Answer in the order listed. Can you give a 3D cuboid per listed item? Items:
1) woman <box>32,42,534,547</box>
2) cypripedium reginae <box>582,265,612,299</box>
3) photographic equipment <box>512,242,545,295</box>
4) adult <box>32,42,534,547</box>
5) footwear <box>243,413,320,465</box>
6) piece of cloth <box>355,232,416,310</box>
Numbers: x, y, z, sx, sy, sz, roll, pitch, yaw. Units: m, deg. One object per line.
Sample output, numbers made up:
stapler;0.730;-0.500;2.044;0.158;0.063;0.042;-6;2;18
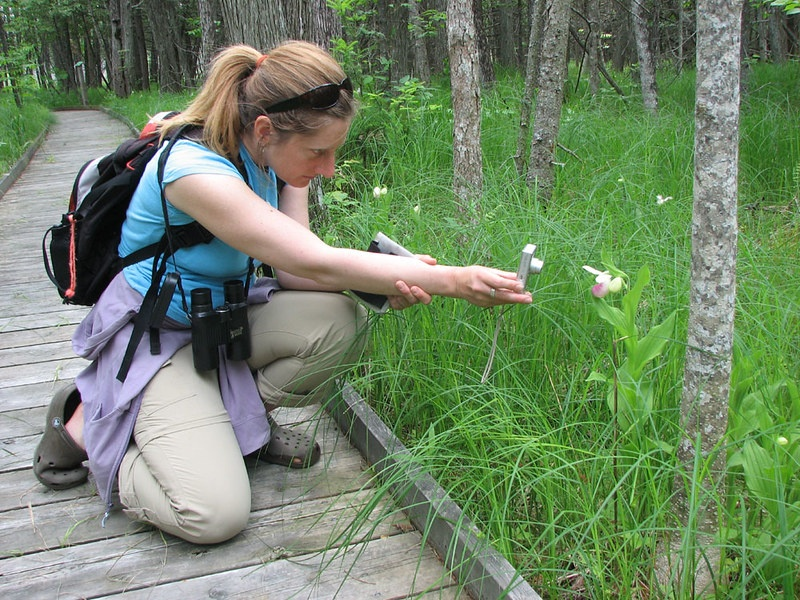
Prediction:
woman;-0.544;-0.026;2.414;1.574;1.863;0.914;12;17;2
cypripedium reginae;0.605;-0.061;1.880;0.068;0.106;0.222;1;15;19
photographic equipment;0.418;-0.108;2.104;0.097;0.202;0.194;7;19;5
adult;-0.572;-0.022;2.426;1.515;1.822;0.876;11;14;-3
footwear;-0.506;0.572;2.597;0.380;0.183;0.142;0;40;29
piece of cloth;-0.034;-0.089;2.413;0.269;0.271;0.066;32;11;28
